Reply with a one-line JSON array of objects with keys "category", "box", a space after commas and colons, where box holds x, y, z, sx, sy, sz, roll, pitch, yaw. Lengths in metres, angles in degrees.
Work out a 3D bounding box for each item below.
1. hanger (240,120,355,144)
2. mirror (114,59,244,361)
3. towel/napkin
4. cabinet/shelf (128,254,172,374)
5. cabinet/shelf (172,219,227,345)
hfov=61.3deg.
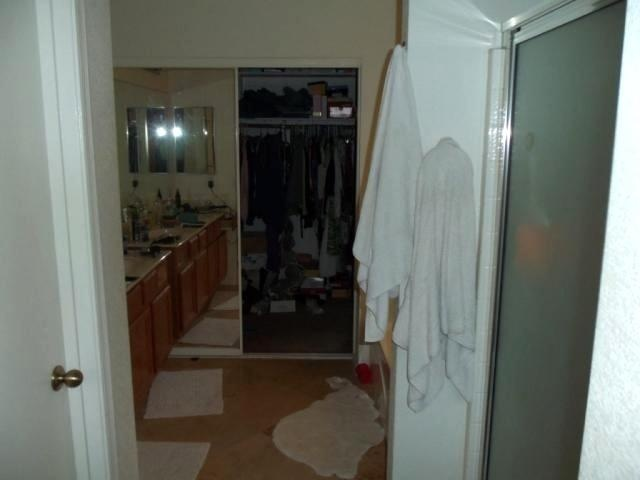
[{"category": "hanger", "box": [-0.167, -0.821, 4.015, 0.853, 0.164, 0.032, 0, 13, 0]}, {"category": "mirror", "box": [-1.047, -0.177, 4.110, 0.896, 2.168, 0.228, 1, 13, 2]}, {"category": "towel/napkin", "box": [0.386, -0.016, 2.148, 0.501, 1.454, 0.260, 1, 13, 3]}, {"category": "cabinet/shelf", "box": [-1.095, 0.457, 3.445, 0.221, 0.610, 0.620, -2, 21, -4]}, {"category": "cabinet/shelf", "box": [-0.943, 0.293, 4.157, 0.233, 0.642, 0.722, -1, 27, 9]}]
